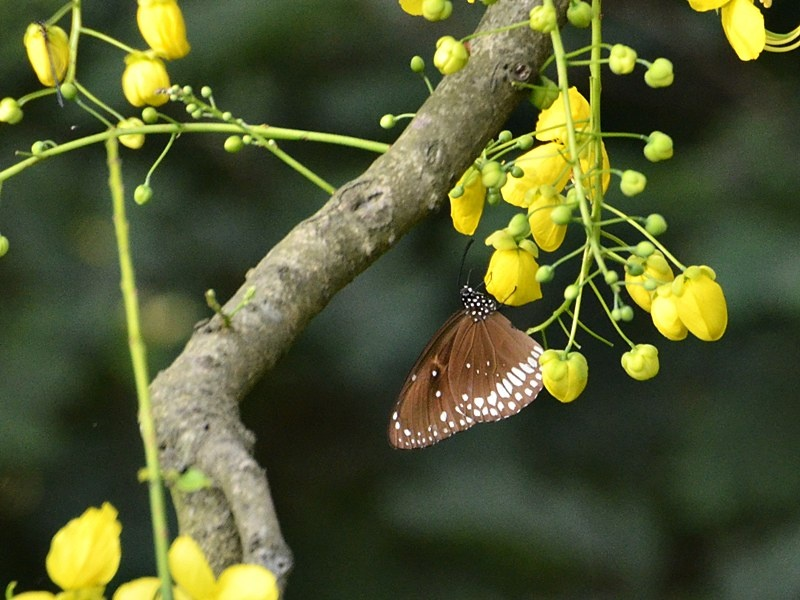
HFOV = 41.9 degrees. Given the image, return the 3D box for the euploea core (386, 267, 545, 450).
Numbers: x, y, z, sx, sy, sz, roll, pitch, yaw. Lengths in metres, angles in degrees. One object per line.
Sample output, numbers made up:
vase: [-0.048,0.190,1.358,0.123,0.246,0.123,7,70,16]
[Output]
euploea core: [0.116,0.093,1.408,0.101,0.227,0.295,26,-41,-30]
